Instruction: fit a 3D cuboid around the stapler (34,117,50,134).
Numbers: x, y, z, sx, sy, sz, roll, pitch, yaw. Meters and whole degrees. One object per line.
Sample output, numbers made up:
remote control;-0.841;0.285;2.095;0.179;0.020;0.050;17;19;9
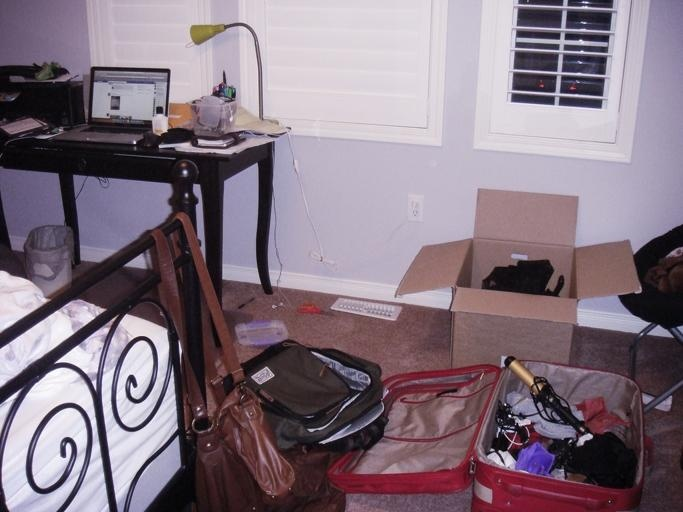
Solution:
stapler;-1.442;-0.623;2.642;0.091;0.031;0.099;15;26;1

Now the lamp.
lamp;-0.601;-0.950;2.805;0.400;0.474;0.253;1;13;-3

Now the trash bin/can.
trash bin/can;-1.443;0.027;2.690;0.187;0.286;0.212;16;30;15

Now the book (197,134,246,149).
book;-0.553;-0.516;2.470;0.239;0.066;0.167;-2;14;-15

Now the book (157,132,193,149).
book;-0.758;-0.529;2.465;0.075;0.056;0.122;13;34;36

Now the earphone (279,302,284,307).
earphone;-0.328;0.267;2.996;0.016;0.010;0.018;8;32;14

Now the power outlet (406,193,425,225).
power outlet;0.390;-0.251;2.855;0.127;0.231;0.022;4;20;14
